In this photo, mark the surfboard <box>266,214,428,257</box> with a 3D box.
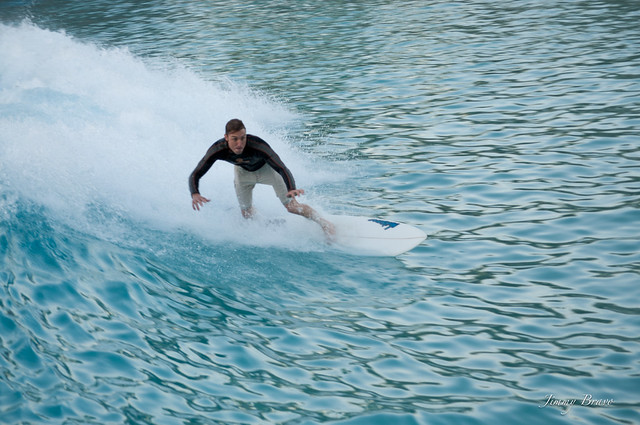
[{"bbox_3d":[0.524,0.361,11.465,2.236,0.473,1.083,10,26,37],"label":"surfboard"}]
